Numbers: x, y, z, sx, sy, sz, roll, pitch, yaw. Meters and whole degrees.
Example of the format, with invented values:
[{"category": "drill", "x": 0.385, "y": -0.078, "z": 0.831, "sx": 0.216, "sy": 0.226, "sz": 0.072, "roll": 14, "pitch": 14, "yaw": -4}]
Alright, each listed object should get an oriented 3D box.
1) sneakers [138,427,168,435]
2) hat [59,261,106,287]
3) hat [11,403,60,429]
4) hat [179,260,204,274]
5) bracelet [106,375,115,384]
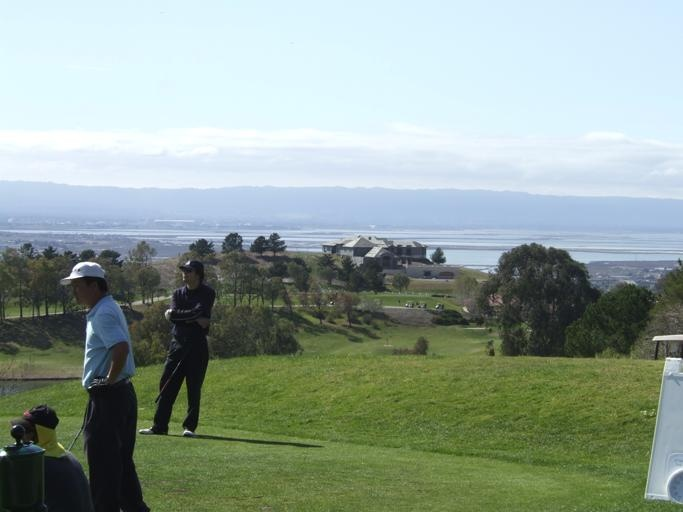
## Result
[{"category": "sneakers", "x": -4.572, "y": 4.236, "z": 26.000, "sx": 0.649, "sy": 0.252, "sz": 0.233, "roll": 10, "pitch": -11, "yaw": 3}, {"category": "hat", "x": -5.112, "y": 0.323, "z": 21.276, "sx": 0.700, "sy": 0.349, "sz": 0.497, "roll": 3, "pitch": -7, "yaw": -12}, {"category": "hat", "x": -5.698, "y": 3.047, "z": 20.352, "sx": 0.595, "sy": 0.444, "sz": 0.416, "roll": 7, "pitch": -2, "yaw": -7}, {"category": "hat", "x": -3.556, "y": 0.206, "z": 25.688, "sx": 0.474, "sy": 0.223, "sz": 0.337, "roll": 12, "pitch": -10, "yaw": -32}, {"category": "bracelet", "x": -4.503, "y": 2.397, "z": 20.936, "sx": 0.145, "sy": 0.106, "sz": 0.147, "roll": 6, "pitch": 5, "yaw": 39}]
